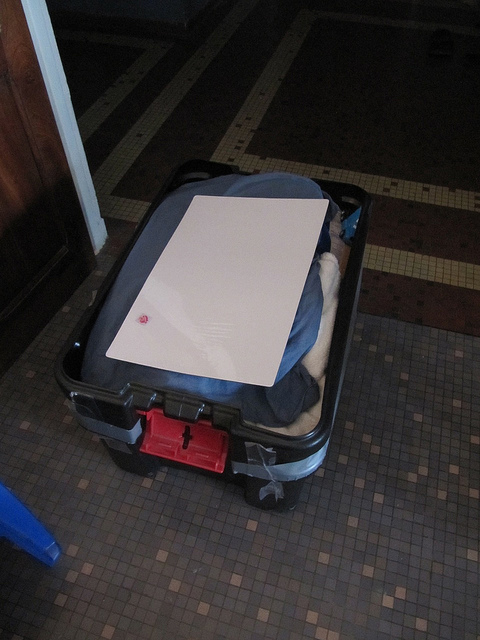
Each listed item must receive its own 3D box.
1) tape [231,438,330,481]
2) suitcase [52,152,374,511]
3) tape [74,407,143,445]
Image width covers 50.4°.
[{"bbox_3d":[0.071,0.276,1.004,0.147,0.052,0.118,10,52,23],"label":"tape"},{"bbox_3d":[-0.023,0.050,1.276,0.541,0.513,0.747,13,50,10],"label":"suitcase"},{"bbox_3d":[-0.267,0.208,1.038,0.140,0.109,0.041,12,48,8],"label":"tape"}]
